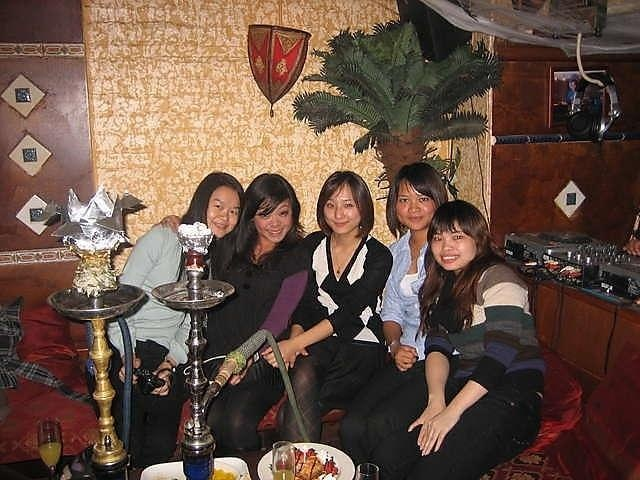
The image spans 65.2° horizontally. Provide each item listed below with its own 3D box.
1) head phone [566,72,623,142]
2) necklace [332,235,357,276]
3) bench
[{"bbox_3d":[2.156,-1.079,3.949,0.209,0.488,0.383,-7,11,-25],"label":"head phone"},{"bbox_3d":[0.172,0.117,3.609,0.201,0.267,0.085,1,-9,27],"label":"necklace"},{"bbox_3d":[0.742,1.020,3.071,1.726,0.348,0.963,1,6,-4],"label":"bench"}]
